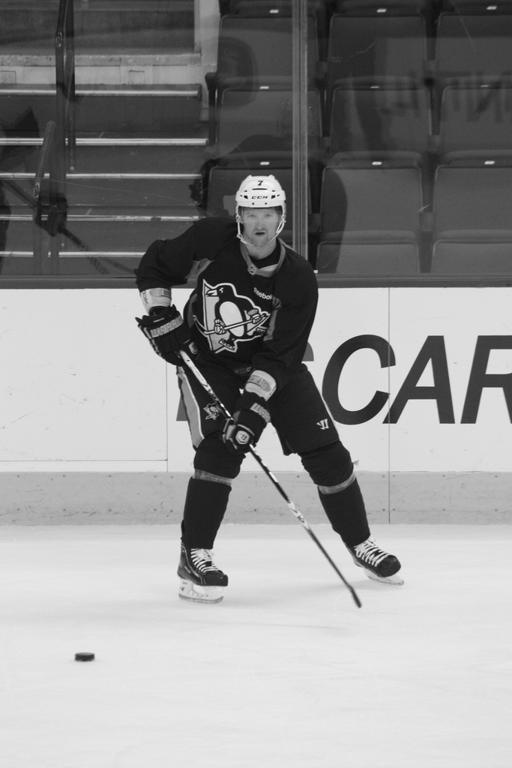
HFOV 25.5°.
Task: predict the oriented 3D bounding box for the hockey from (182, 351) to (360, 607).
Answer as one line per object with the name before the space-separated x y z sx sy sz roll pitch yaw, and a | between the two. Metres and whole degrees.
hockey | 0.048 0.312 3.669 0.032 0.952 0.102 -42 -1 -3

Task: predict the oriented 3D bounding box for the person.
person | 0.024 0.009 3.458 0.828 1.271 0.366 5 -1 -6

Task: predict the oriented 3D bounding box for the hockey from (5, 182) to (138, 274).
hockey | -0.760 -0.652 4.680 0.406 0.420 0.082 -55 -5 2

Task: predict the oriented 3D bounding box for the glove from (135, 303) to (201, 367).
glove | -0.265 -0.155 3.472 0.140 0.196 0.066 -36 3 -10

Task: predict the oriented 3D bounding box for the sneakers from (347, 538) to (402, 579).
sneakers | 0.366 0.539 3.547 0.069 0.082 0.197 -36 13 -13

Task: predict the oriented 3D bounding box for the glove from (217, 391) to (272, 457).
glove | -0.032 0.114 3.311 0.181 0.123 0.085 -40 -42 25

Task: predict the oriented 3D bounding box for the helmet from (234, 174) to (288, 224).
helmet | 0.023 -0.566 3.376 0.134 0.143 0.156 0 7 2

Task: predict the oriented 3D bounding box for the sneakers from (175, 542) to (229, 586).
sneakers | -0.162 0.537 3.344 0.071 0.118 0.185 6 -1 -42
